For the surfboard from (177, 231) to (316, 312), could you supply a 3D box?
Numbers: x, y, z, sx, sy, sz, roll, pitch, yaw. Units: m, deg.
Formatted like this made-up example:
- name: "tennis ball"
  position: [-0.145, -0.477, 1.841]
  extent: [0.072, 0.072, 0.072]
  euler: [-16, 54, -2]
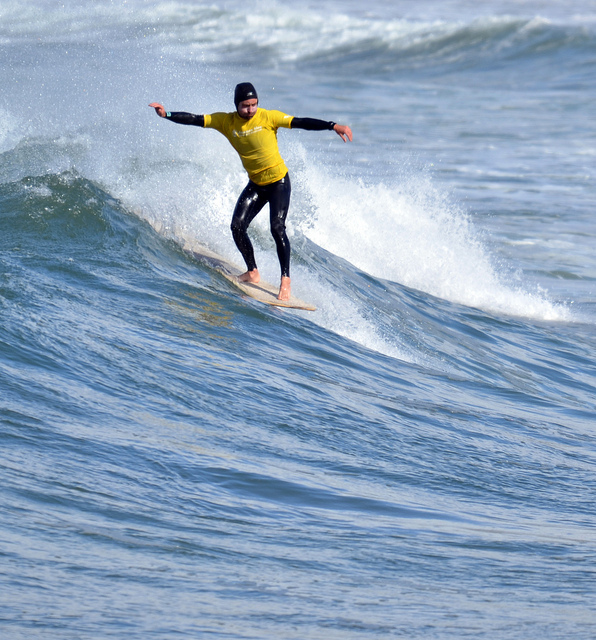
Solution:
- name: "surfboard"
  position: [-0.607, -0.430, 9.156]
  extent: [1.865, 0.107, 0.514]
  euler: [21, 26, 37]

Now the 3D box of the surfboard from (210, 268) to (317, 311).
- name: "surfboard"
  position: [-0.286, -0.228, 8.759]
  extent: [0.374, 0.084, 1.163]
  euler: [-5, 22, -29]

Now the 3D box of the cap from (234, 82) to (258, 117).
- name: "cap"
  position: [-0.435, -1.798, 7.978]
  extent: [0.191, 0.186, 0.217]
  euler: [-15, 26, -4]
